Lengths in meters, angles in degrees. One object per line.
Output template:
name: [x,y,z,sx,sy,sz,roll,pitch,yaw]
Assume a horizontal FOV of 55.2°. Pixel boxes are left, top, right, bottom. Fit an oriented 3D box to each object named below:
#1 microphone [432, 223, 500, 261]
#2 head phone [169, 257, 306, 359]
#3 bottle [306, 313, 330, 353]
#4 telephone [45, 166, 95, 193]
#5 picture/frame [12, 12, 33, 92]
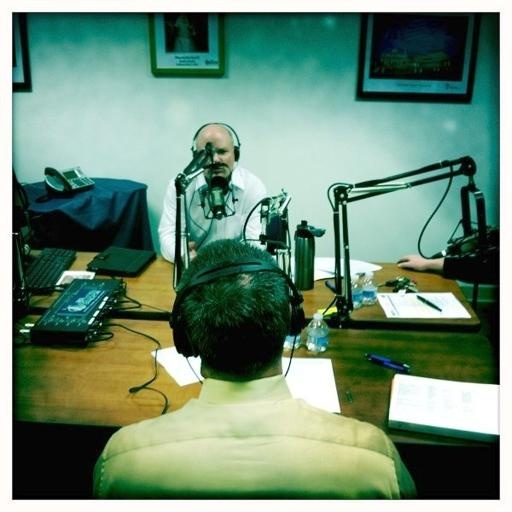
microphone: [0.850,-0.039,1.927,0.275,0.112,0.108,-13,16,2]
head phone: [-0.039,0.116,1.015,0.248,0.216,0.097,-6,26,-2]
bottle: [0.202,0.255,1.596,0.072,0.116,0.077,-1,25,0]
telephone: [-1.113,-0.442,2.909,0.239,0.089,0.179,-14,55,-31]
picture/frame: [-1.551,-1.328,3.238,0.102,0.473,0.221,-12,16,-39]
